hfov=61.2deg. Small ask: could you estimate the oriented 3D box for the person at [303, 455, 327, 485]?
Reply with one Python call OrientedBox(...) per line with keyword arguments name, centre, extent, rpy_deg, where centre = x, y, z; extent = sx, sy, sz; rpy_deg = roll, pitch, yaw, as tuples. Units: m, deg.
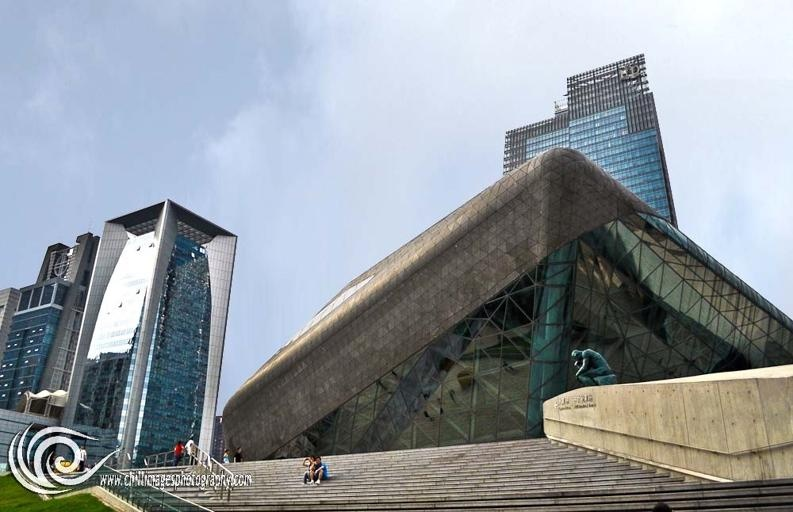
OrientedBox(name="person", centre=(-3.249, 8.767, 27.107), extent=(0.852, 1.328, 0.628), rpy_deg=(2, -44, 1))
